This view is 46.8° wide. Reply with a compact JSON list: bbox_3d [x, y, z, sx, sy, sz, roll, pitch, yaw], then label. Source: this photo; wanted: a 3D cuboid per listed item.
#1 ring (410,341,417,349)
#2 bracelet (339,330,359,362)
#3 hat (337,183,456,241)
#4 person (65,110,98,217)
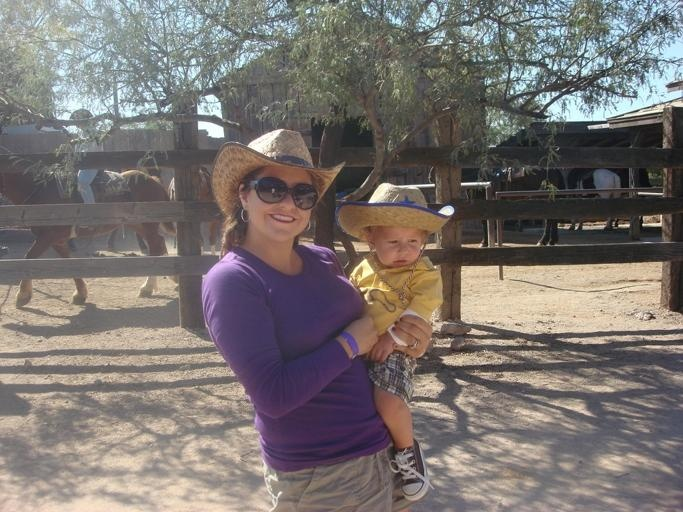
[{"bbox_3d":[0.438,0.542,4.732,0.014,0.041,0.040,42,-27,13],"label":"ring"},{"bbox_3d":[0.054,0.507,4.431,0.034,0.129,0.132,-26,-7,-10],"label":"bracelet"},{"bbox_3d":[0.289,-0.275,4.978,0.471,0.155,0.449,14,-20,-33],"label":"hat"},{"bbox_3d":[-2.780,-1.003,8.634,0.257,0.596,3.132,2,1,-17],"label":"person"}]
